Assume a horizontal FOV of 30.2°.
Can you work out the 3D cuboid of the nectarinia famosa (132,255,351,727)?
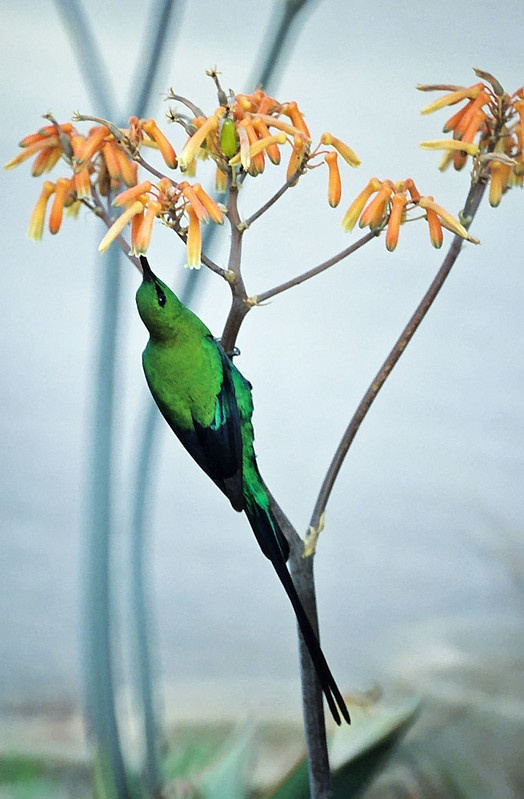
[{"bbox_3d":[-0.063,0.134,1.464,0.184,0.722,0.421,-16,-21,8],"label":"nectarinia famosa"}]
